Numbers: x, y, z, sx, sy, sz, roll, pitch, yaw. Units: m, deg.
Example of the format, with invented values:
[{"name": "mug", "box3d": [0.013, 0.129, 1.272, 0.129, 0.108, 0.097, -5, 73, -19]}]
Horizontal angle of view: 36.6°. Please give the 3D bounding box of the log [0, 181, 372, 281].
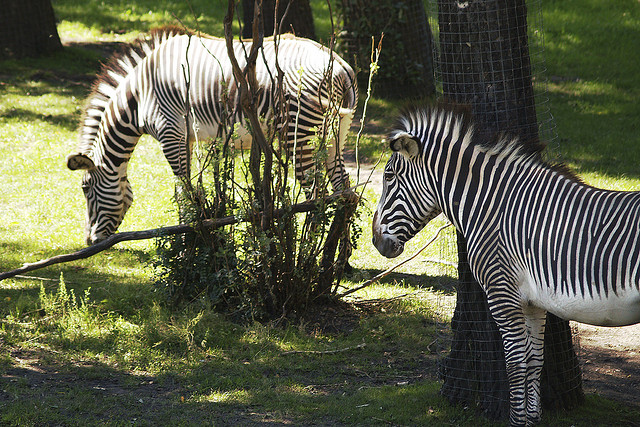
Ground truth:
[{"name": "log", "box3d": [-1.802, 0.208, 12.456, 4.382, 0.965, 0.578, -3, 18, -21]}]
